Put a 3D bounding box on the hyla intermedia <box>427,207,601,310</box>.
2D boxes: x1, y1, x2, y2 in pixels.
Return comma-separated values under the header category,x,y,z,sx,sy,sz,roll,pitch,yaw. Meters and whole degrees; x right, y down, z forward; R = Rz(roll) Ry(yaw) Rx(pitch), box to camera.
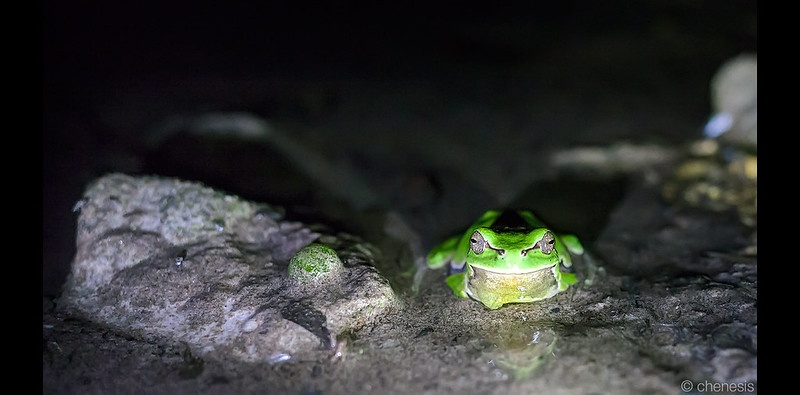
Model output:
category,x,y,z,sx,sy,sz,roll,pitch,yaw
hyla intermedia,1.235,0.628,7.625,1.976,0.677,1.695,1,14,6
